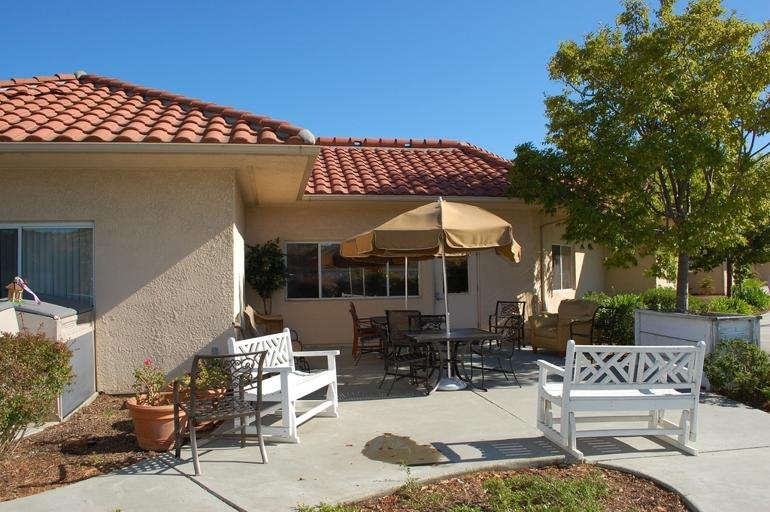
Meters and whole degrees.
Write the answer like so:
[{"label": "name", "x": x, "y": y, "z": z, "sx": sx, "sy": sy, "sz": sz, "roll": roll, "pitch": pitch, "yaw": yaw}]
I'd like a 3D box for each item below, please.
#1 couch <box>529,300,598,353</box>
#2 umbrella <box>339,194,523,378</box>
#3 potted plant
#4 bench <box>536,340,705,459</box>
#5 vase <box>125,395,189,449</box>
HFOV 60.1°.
[{"label": "couch", "x": 4.101, "y": 1.612, "z": 15.373, "sx": 1.217, "sy": 1.175, "sz": 1.347, "roll": 0, "pitch": 1, "yaw": -34}, {"label": "umbrella", "x": 1.047, "y": 0.678, "z": 13.300, "sx": 3.573, "sy": 3.559, "sz": 3.985, "roll": 0, "pitch": -1, "yaw": -1}, {"label": "potted plant", "x": -2.939, "y": 2.206, "z": 10.517, "sx": 1.050, "sy": 0.532, "sz": 0.992, "roll": 1, "pitch": 1, "yaw": -27}, {"label": "bench", "x": 3.561, "y": 2.059, "z": 10.154, "sx": 2.183, "sy": 1.539, "sz": 1.442, "roll": 1, "pitch": 0, "yaw": -12}, {"label": "vase", "x": -3.437, "y": 2.502, "z": 10.055, "sx": 0.741, "sy": 0.561, "sz": 0.756, "roll": 0, "pitch": -6, "yaw": -1}]
